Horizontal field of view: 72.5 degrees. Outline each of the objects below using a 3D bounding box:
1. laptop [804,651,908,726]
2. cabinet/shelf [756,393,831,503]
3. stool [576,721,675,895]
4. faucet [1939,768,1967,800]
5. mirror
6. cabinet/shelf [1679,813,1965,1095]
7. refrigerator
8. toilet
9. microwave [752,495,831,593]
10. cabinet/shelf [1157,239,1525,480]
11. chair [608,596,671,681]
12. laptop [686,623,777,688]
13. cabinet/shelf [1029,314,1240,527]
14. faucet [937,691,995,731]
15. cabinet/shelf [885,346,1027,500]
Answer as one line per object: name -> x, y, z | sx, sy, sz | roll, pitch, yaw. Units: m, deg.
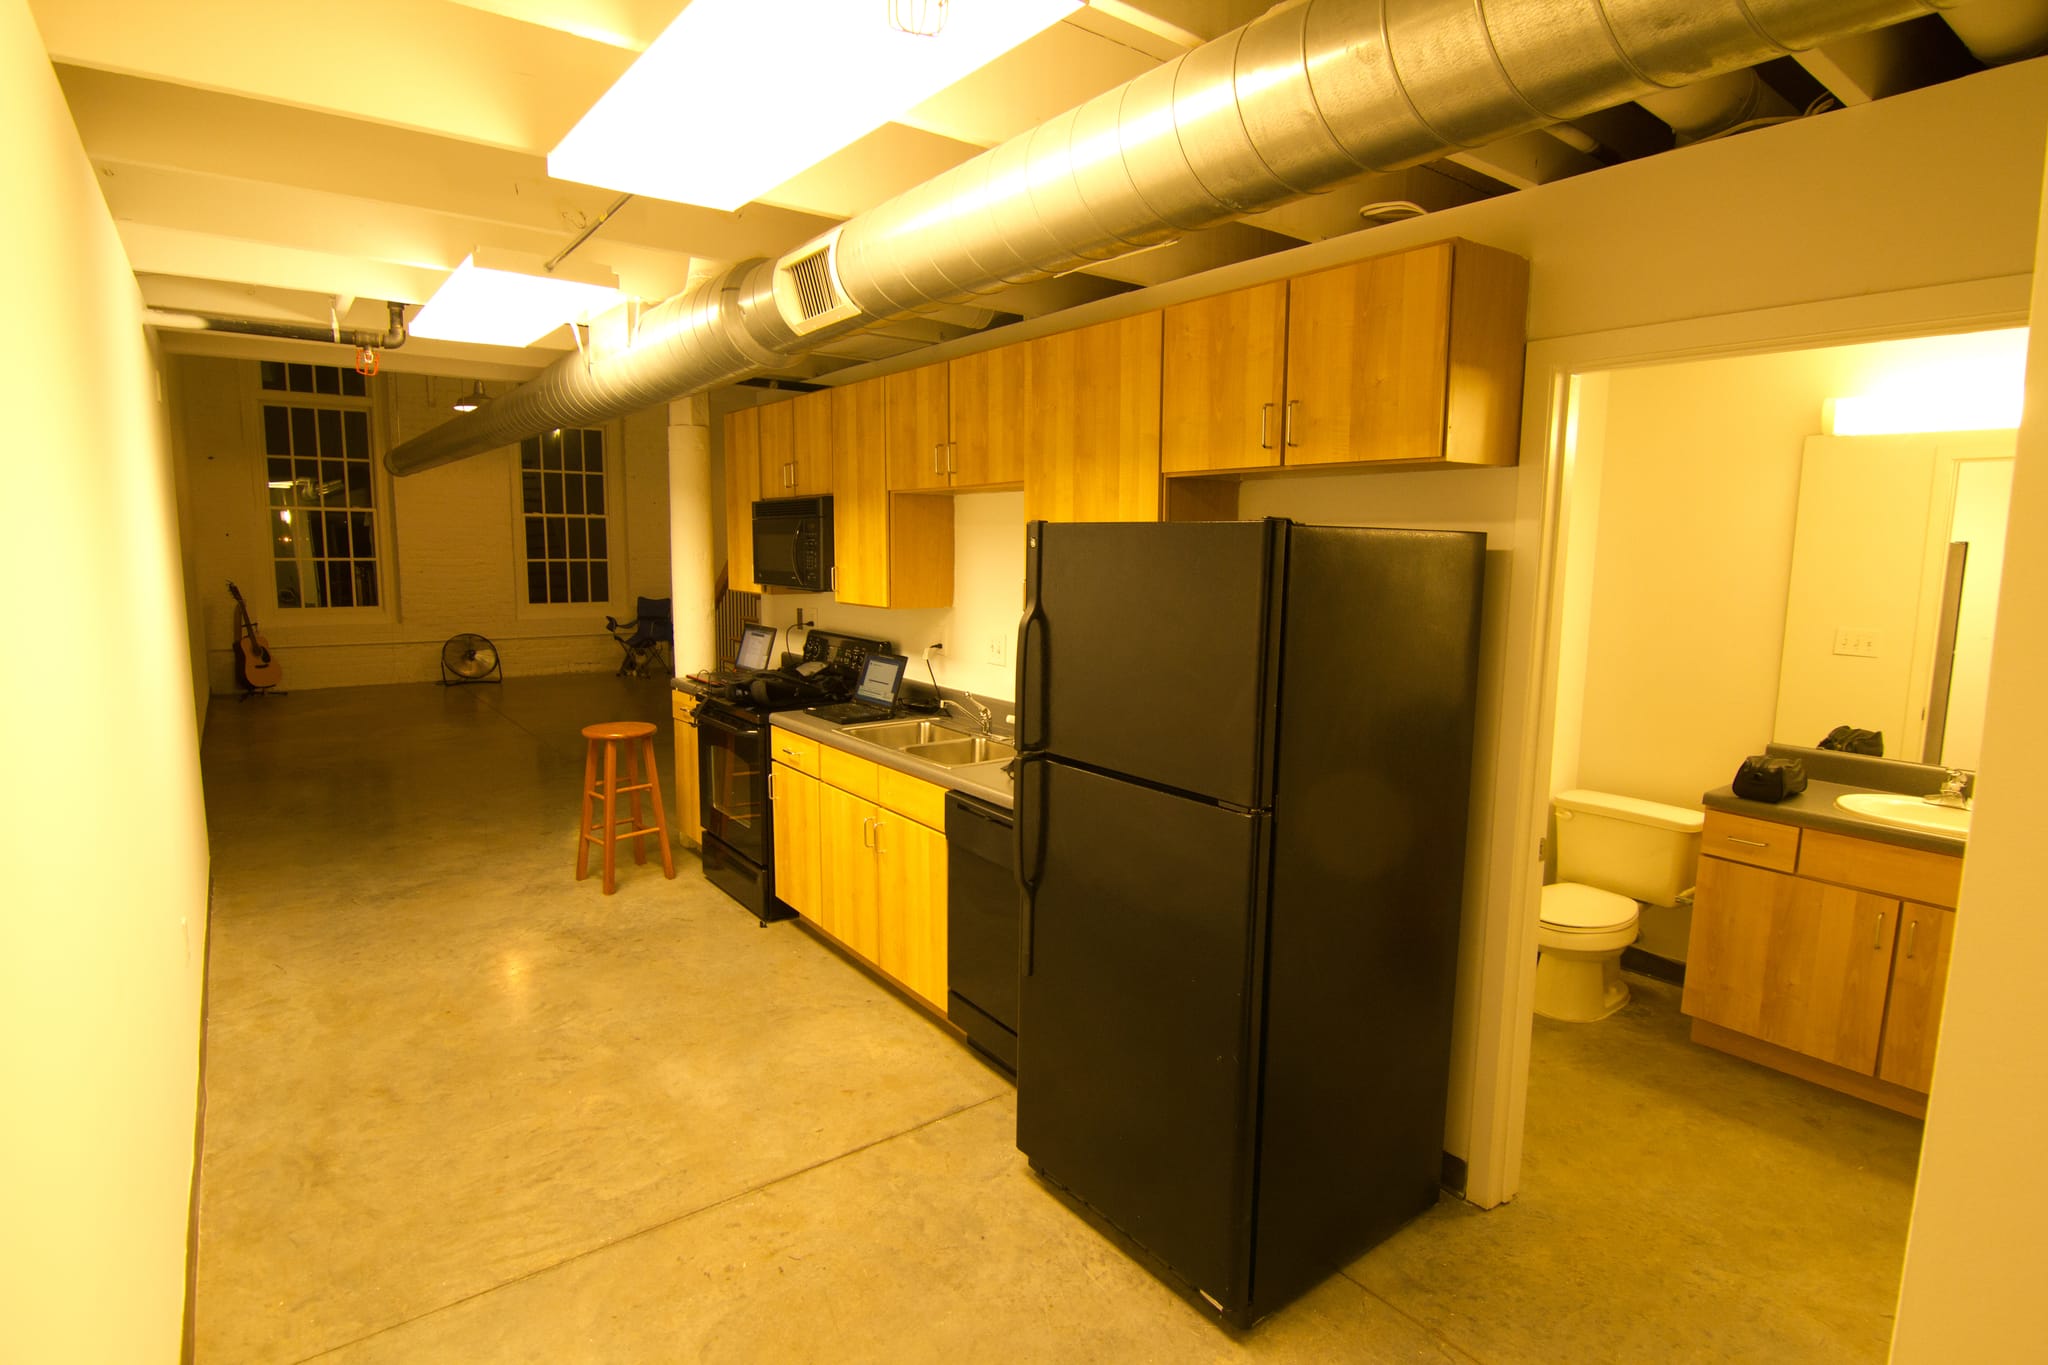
laptop -> -0.762, 0.017, 6.371 | 0.255, 0.348, 0.335 | 7, -2, -42
cabinet/shelf -> -1.067, -1.115, 6.518 | 0.227, 0.471, 0.553 | -8, 11, -36
stool -> -2.103, 0.672, 7.330 | 0.578, 0.971, 0.568 | -8, 16, -27
faucet -> 3.320, 0.355, 4.967 | 0.089, 0.095, 0.140 | 4, 10, 29
mirror -> 3.379, -0.273, 5.021 | 0.198, 1.135, 0.192 | 5, 11, 30
cabinet/shelf -> 2.795, 1.034, 5.167 | 1.040, 0.955, 0.531 | 16, -17, -5
refrigerator -> 0.689, 0.658, 4.580 | 1.271, 2.294, 1.232 | 9, 12, 41
toilet -> 2.277, 0.897, 5.603 | 0.840, 0.796, 0.565 | -8, 15, -44
microwave -> -1.229, -0.673, 6.601 | 0.313, 0.454, 0.652 | 4, 7, 27
cabinet/shelf -> 0.984, -1.002, 4.527 | 0.431, 0.637, 1.159 | -3, 6, -42
chair -> -3.700, -0.496, 13.471 | 0.550, 0.709, 0.678 | -7, 11, -35
laptop -> -1.494, -0.118, 7.124 | 0.379, 0.257, 0.423 | -7, 7, -33
cabinet/shelf -> 0.353, -0.895, 5.089 | 0.471, 0.773, 0.618 | 2, 5, -37
faucet -> -0.248, 0.103, 6.105 | 0.114, 0.155, 0.374 | -2, 6, -25
cabinet/shelf -> -0.208, -1.043, 5.628 | 0.836, 0.512, 0.305 | 3, 5, 45
